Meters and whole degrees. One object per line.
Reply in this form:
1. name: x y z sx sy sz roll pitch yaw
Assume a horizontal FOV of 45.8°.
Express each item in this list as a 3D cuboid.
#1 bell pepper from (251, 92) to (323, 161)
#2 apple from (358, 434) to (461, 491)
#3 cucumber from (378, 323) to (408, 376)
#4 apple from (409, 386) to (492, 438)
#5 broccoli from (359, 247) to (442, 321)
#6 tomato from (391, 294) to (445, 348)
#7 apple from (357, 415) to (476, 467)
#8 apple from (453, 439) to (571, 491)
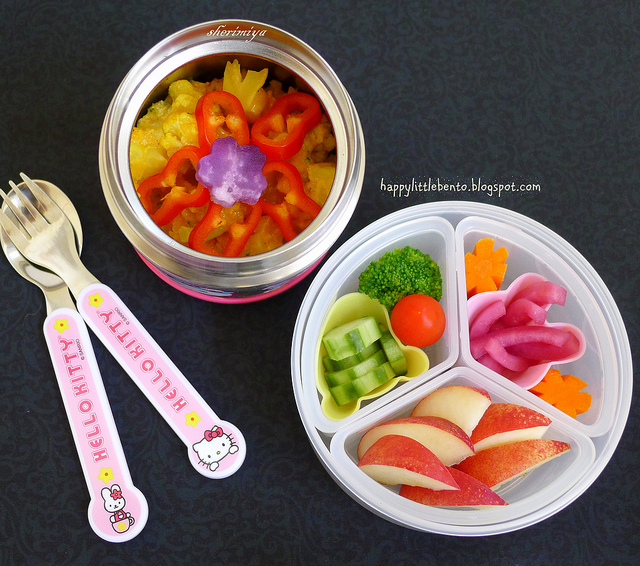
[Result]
1. bell pepper: -0.095 -0.442 2.141 0.225 0.077 0.142 -40 82 0
2. apple: 0.222 0.469 2.057 0.302 0.163 0.184 7 79 34
3. cucumber: 0.210 0.194 2.166 0.035 0.120 0.131 -22 83 -2
4. apple: 0.366 0.330 2.100 0.179 0.139 0.186 5 29 22
5. broccoli: 0.296 -0.002 2.302 0.296 0.328 0.151 -6 84 47
6. tomato: 0.279 0.103 2.137 0.152 0.076 0.147 -1 84 5
7. apple: 0.296 0.418 2.057 0.232 0.083 0.153 7 72 21
8. apple: 0.520 0.486 2.008 0.328 0.115 0.139 -12 63 2
